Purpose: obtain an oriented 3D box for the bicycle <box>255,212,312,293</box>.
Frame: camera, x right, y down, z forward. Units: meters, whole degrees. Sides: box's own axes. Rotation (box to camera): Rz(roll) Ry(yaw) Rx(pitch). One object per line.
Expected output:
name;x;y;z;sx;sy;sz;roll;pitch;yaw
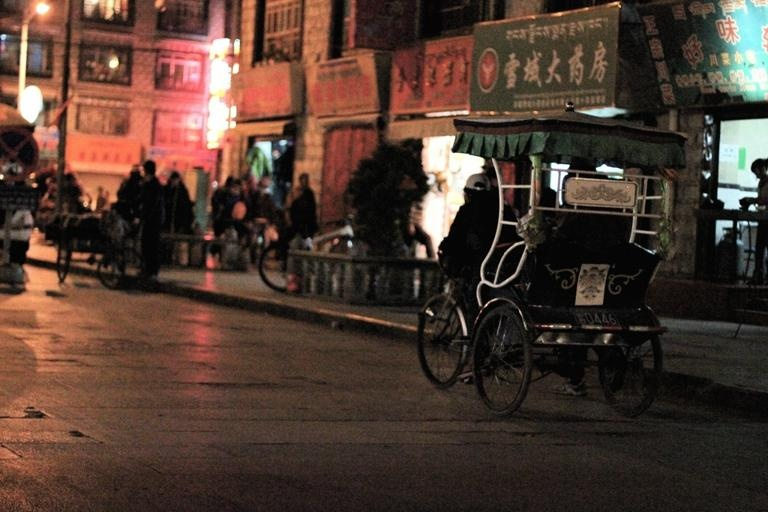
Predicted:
bicycle;-2.460;0.012;19.255;1.109;1.411;2.551;2;-4;-22
